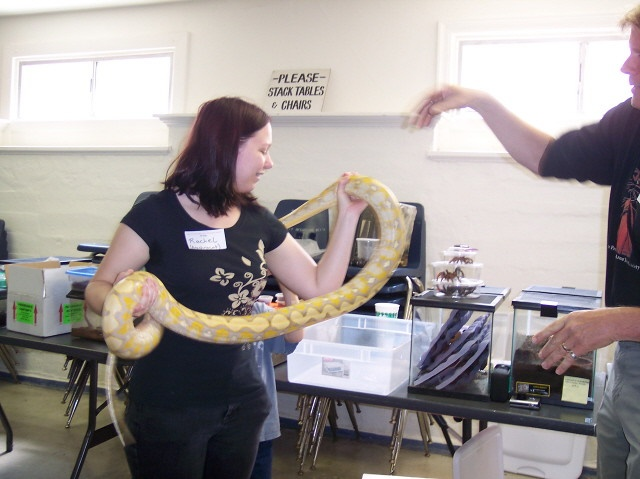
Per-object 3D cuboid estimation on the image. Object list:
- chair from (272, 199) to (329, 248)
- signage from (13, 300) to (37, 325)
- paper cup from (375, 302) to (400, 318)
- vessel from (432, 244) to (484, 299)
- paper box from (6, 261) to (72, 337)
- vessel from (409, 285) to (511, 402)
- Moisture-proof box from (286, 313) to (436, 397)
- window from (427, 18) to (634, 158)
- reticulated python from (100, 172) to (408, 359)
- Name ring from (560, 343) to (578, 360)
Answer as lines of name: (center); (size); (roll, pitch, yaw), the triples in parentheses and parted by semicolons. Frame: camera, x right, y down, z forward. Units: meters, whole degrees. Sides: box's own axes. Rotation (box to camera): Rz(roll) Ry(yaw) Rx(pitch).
chair: (-0.125, -0.092, 3.857); (0.384, 0.365, 0.548); (-1, -2, 28)
signage: (-1.436, 0.354, 2.542); (0.128, 0.101, 0.017); (7, 4, 26)
paper cup: (0.350, 0.365, 2.733); (0.099, 0.067, 0.095); (1, -2, 0)
vessel: (0.528, 0.125, 2.097); (0.204, 0.176, 0.196); (-1, 4, -6)
paper box: (-1.400, 0.284, 2.663); (0.336, 0.387, 0.357); (0, 3, -45)
vessel: (0.569, 0.436, 2.146); (0.325, 0.366, 0.402); (1, -1, 25)
Moisture-proof box: (0.190, 0.457, 2.136); (0.391, 0.120, 0.370); (4, 10, 32)
window: (1.227, -0.907, 3.021); (1.522, 0.952, 0.081); (-1, 4, 16)
reticulated python: (-0.086, 0.107, 1.156); (0.641, 0.352, 0.129); (-24, -17, -9)
Name ring: (0.695, 0.322, 1.461); (0.046, 0.011, 0.048); (32, -11, 7)
